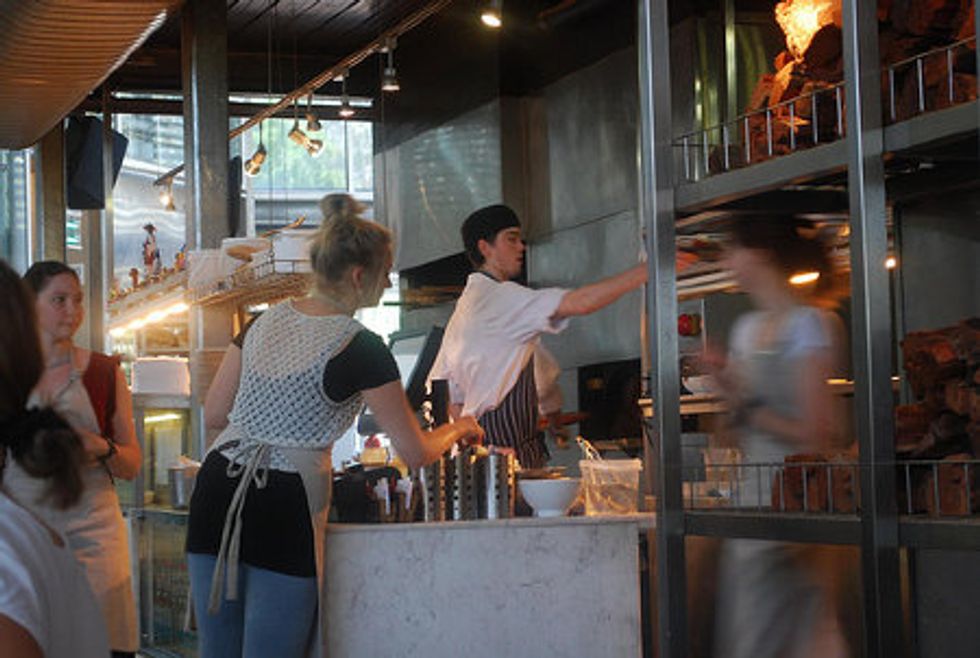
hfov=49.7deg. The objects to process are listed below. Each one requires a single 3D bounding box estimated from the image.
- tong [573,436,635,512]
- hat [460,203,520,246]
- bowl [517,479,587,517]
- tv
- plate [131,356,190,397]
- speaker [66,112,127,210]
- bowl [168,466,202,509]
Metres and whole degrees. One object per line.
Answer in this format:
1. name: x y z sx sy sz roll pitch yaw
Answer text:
1. tong: 0.429 0.567 3.788 0.203 0.185 0.171 -1 -3 3
2. hat: -0.002 -0.419 4.361 0.201 0.133 0.158 -12 0 23
3. bowl: 0.203 0.574 3.648 0.145 0.089 0.150 -1 -6 0
4. tv: -0.338 0.197 4.045 0.209 0.571 0.558 4 -8 -19
5. plate: -1.809 0.265 5.766 0.221 0.155 0.237 1 -2 -3
6. speaker: -3.922 -1.624 10.185 0.359 0.896 0.420 0 -3 -24
7. bowl: -1.427 0.724 4.913 0.164 0.201 0.167 -3 -4 0
